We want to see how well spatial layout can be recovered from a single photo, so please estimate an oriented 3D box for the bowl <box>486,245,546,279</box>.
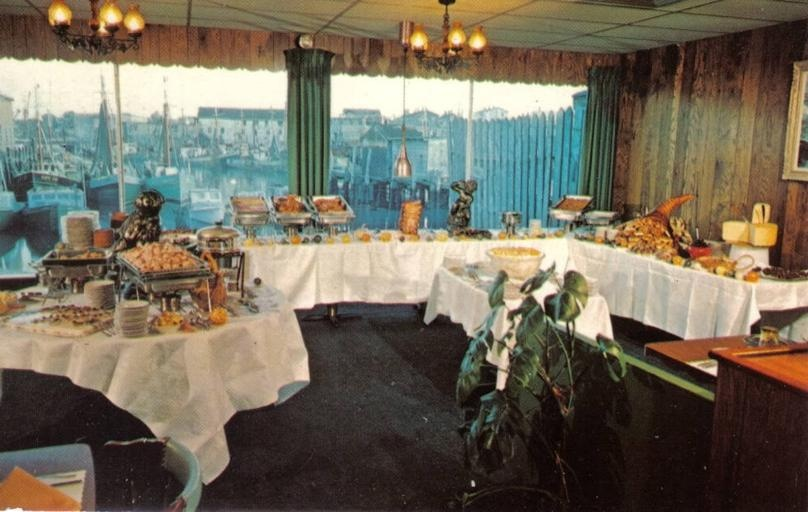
[{"bbox_3d":[1.211,0.067,5.926,0.534,0.257,0.639,0,12,24],"label":"bowl"}]
